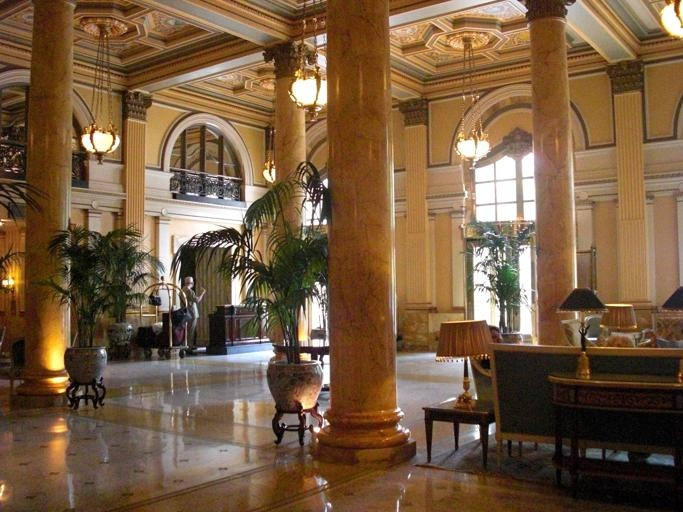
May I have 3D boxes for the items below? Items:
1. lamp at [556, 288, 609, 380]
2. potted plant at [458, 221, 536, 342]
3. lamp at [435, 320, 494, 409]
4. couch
[{"bbox_3d":[2.136,0.693,5.053,0.402,0.734,0.416,-4,-10,42],"label":"lamp"},{"bbox_3d":[3.233,0.368,11.206,1.457,2.176,1.491,3,-12,11],"label":"potted plant"},{"bbox_3d":[1.143,0.990,5.301,0.480,0.786,0.645,-2,-5,14],"label":"lamp"},{"bbox_3d":[2.134,1.253,5.291,1.486,1.804,1.467,-10,-13,41],"label":"couch"}]
